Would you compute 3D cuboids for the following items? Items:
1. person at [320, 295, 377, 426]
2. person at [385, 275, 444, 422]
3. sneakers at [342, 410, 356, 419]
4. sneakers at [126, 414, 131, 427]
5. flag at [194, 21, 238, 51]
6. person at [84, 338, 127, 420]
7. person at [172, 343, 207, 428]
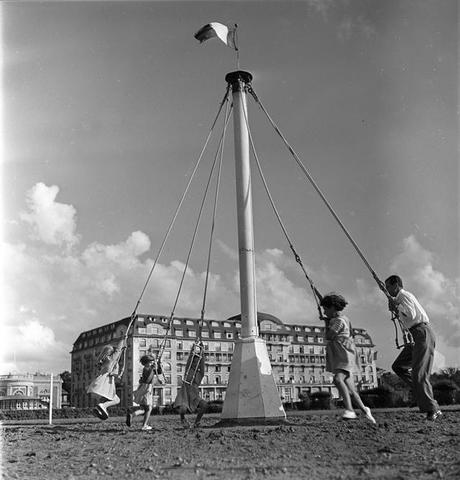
[{"bbox_3d":[1.408,1.430,5.471,0.428,1.550,0.833,-8,-22,15],"label":"person"},{"bbox_3d":[2.486,1.385,5.967,0.580,1.971,0.752,-8,-22,15],"label":"person"},{"bbox_3d":[1.387,2.062,5.095,0.148,0.086,0.262,-10,-25,17],"label":"sneakers"},{"bbox_3d":[-2.019,3.621,8.719,0.073,0.220,0.314,1,-24,-8],"label":"sneakers"},{"bbox_3d":[-0.301,-4.718,9.810,0.910,0.592,0.600,-4,-23,2],"label":"flag"},{"bbox_3d":[-2.346,2.713,8.418,0.717,1.401,0.608,-3,-21,3],"label":"person"},{"bbox_3d":[-0.635,2.609,7.904,0.542,0.336,1.903,9,-68,1],"label":"person"}]
